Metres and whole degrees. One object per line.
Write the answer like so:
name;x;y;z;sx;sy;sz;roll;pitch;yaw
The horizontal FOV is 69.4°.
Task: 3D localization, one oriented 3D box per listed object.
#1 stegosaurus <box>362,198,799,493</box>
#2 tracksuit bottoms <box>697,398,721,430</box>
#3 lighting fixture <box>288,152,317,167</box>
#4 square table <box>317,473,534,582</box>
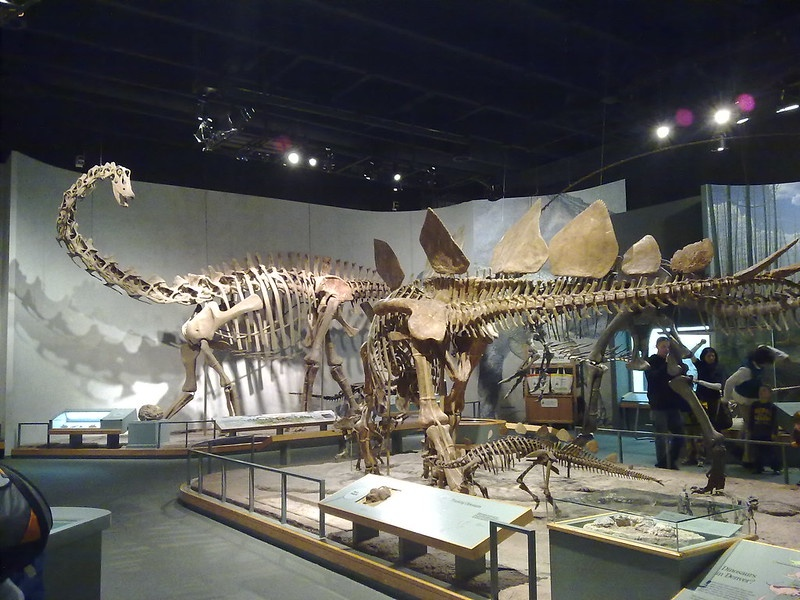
stegosaurus;1.369;0.408;6.015;4.341;2.868;2.201;-5;-8;11
tracksuit bottoms;3.608;1.325;6.754;0.135;0.569;0.411;-7;-1;37
lighting fixture;-1.767;-2.509;10.330;0.488;0.230;0.193;-5;7;-41
square table;0.176;1.804;4.568;1.686;0.692;0.559;-11;-11;43
